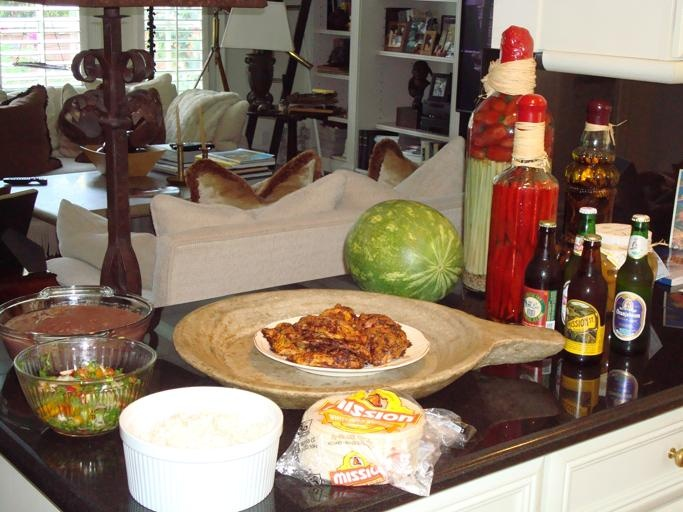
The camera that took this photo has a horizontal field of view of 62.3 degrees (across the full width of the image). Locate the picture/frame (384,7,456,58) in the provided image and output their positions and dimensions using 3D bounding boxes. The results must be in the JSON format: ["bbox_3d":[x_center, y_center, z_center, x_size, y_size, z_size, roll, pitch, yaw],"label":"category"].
[{"bbox_3d":[0.719,-2.087,5.272,0.716,0.211,0.503,15,35,22],"label":"picture/frame"}]

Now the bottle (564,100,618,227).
[{"bbox_3d":[0.621,-0.216,1.393,0.120,0.318,0.108,7,14,20],"label":"bottle"}]

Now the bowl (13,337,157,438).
[{"bbox_3d":[-0.364,0.175,0.813,0.165,0.082,0.163,7,17,-2],"label":"bowl"}]

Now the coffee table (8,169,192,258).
[{"bbox_3d":[-1.505,-0.377,3.514,0.725,0.172,0.737,-12,29,-31],"label":"coffee table"}]

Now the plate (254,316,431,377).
[{"bbox_3d":[0.004,0.160,0.966,0.309,0.047,0.185,1,12,-4],"label":"plate"}]

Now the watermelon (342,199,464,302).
[{"bbox_3d":[0.143,-0.031,1.315,0.283,0.232,0.230,12,26,38],"label":"watermelon"}]

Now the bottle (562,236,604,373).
[{"bbox_3d":[0.449,0.080,1.019,0.079,0.244,0.067,5,14,15],"label":"bottle"}]

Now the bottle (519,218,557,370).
[{"bbox_3d":[0.387,0.041,1.080,0.070,0.228,0.113,7,14,21],"label":"bottle"}]

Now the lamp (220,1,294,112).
[{"bbox_3d":[-0.792,-1.880,5.425,0.596,0.844,1.459,0,13,-7],"label":"lamp"}]

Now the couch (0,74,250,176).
[{"bbox_3d":[-1.471,-0.835,3.716,1.664,0.647,0.731,-3,16,-8],"label":"couch"}]
